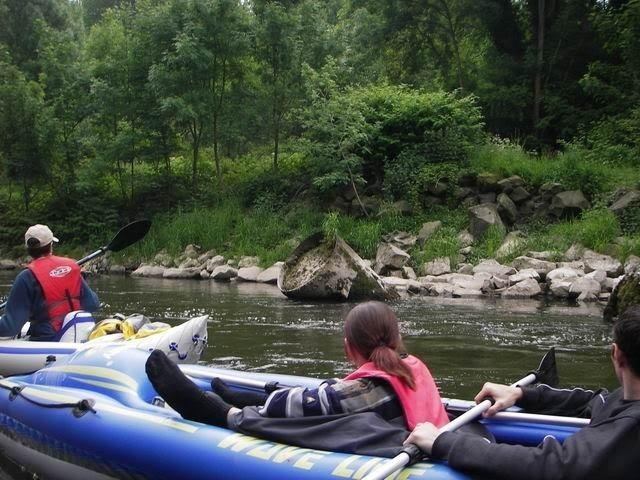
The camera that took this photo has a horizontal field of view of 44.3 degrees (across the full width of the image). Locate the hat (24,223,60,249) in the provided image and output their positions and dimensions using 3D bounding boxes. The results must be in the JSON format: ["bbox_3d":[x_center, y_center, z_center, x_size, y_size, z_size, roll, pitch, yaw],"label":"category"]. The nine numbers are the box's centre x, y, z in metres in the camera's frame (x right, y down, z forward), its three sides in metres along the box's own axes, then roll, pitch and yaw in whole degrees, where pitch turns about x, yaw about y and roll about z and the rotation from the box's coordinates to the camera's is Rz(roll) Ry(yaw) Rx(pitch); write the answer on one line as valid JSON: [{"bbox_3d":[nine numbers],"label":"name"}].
[{"bbox_3d":[-4.554,-0.081,12.897,0.358,0.289,0.501,4,13,8],"label":"hat"}]

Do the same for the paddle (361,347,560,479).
[{"bbox_3d":[1.907,2.459,10.835,3.253,0.388,0.721,-20,58,-35],"label":"paddle"}]
